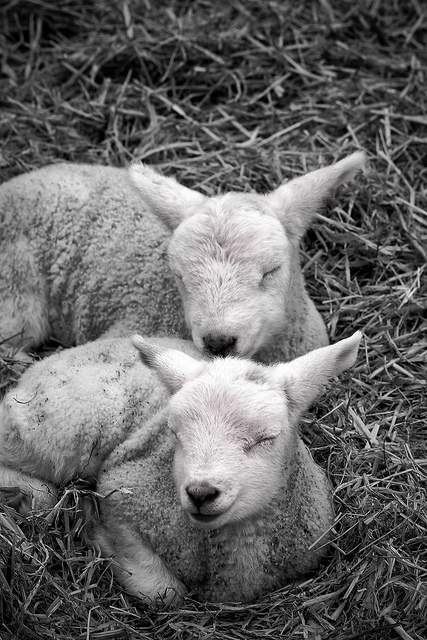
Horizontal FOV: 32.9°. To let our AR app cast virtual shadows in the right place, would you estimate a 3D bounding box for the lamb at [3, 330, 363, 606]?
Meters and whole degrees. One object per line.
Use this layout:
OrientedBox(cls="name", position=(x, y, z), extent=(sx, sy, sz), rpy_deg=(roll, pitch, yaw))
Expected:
OrientedBox(cls="lamb", position=(-0.328, 0.636, 3.735), extent=(1.252, 0.958, 1.780), rpy_deg=(-3, 23, -23))
